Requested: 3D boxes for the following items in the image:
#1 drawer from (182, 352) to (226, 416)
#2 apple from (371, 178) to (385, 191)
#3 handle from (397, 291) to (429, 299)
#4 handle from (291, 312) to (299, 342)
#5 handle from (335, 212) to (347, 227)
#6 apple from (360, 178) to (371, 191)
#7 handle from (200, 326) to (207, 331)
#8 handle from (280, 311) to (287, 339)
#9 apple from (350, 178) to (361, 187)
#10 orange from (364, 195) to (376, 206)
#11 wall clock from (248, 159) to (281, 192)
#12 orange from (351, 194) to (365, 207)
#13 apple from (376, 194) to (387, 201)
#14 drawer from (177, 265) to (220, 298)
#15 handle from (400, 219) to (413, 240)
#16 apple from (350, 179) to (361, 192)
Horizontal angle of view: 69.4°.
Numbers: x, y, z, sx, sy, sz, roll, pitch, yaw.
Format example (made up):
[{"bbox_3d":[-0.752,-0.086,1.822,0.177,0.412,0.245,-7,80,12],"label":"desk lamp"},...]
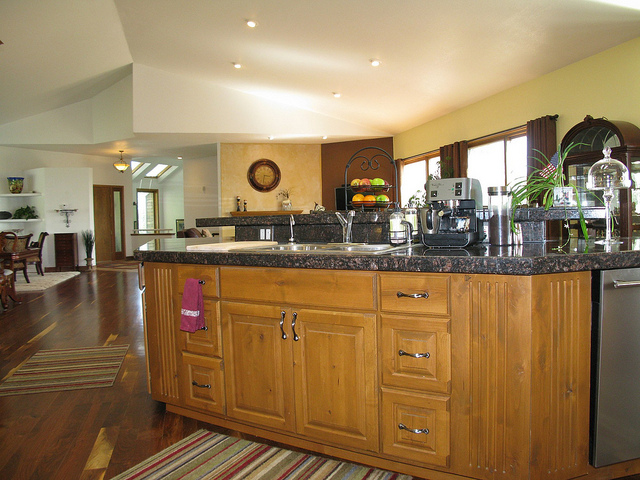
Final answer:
[{"bbox_3d":[-0.761,0.936,3.046,0.227,0.416,0.263,0,2,-45],"label":"drawer"},{"bbox_3d":[0.451,-0.435,3.533,0.086,0.089,0.088,-1,-7,5],"label":"apple"},{"bbox_3d":[0.500,0.297,2.515,0.194,0.054,0.053,2,4,14],"label":"handle"},{"bbox_3d":[-0.149,0.516,2.755,0.045,0.178,0.017,0,8,3],"label":"handle"},{"bbox_3d":[0.154,-0.153,3.355,0.050,0.041,0.141,5,-26,22],"label":"handle"},{"bbox_3d":[0.357,-0.439,3.619,0.083,0.101,0.082,1,21,8],"label":"apple"},{"bbox_3d":[-0.751,0.568,2.982,0.035,0.025,0.012,5,4,33],"label":"handle"},{"bbox_3d":[-0.221,0.508,2.780,0.045,0.168,0.012,1,8,12],"label":"handle"},{"bbox_3d":[0.283,-0.456,3.665,0.065,0.037,0.066,-7,3,-3],"label":"apple"},{"bbox_3d":[0.385,-0.303,3.556,0.071,0.075,0.073,-2,29,-2],"label":"orange"},{"bbox_3d":[-1.260,-1.460,10.445,0.711,0.726,0.145,-3,8,-18],"label":"wall clock"},{"bbox_3d":[0.295,-0.311,3.571,0.078,0.079,0.080,3,11,5],"label":"orange"},{"bbox_3d":[0.457,-0.324,3.495,0.054,0.055,0.053,3,26,17],"label":"apple"},{"bbox_3d":[-0.794,0.265,3.008,0.341,0.202,0.048,4,9,29],"label":"drawer"},{"bbox_3d":[0.608,-0.079,3.218,0.050,0.152,0.211,3,9,27],"label":"handle"},{"bbox_3d":[0.280,-0.435,3.658,0.074,0.078,0.089,-1,41,5],"label":"apple"}]
